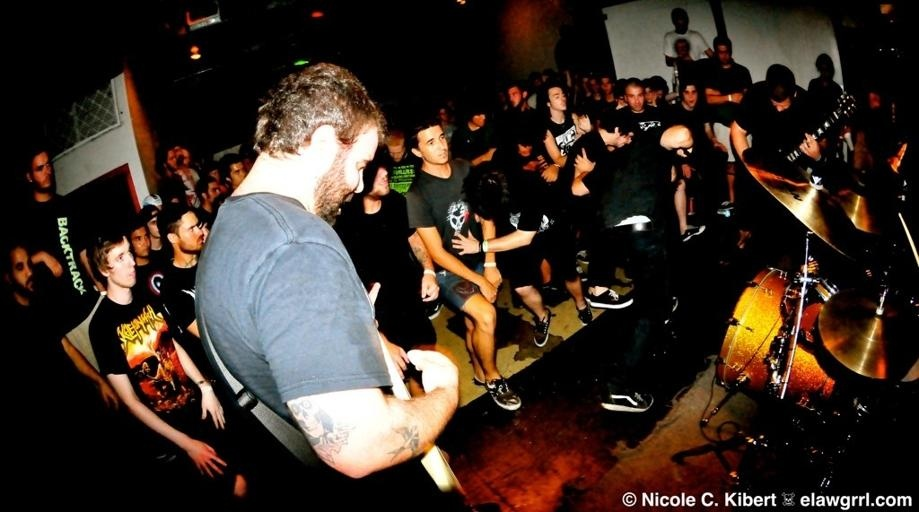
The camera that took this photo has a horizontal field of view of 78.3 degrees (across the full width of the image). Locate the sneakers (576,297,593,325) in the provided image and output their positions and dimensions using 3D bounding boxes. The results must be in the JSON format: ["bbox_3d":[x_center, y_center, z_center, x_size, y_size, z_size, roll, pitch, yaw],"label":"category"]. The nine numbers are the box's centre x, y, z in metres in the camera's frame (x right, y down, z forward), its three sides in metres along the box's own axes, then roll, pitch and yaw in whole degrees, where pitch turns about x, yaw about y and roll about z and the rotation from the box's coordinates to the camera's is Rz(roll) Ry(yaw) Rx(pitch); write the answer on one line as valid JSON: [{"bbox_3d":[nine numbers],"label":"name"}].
[{"bbox_3d":[1.735,0.764,8.044,0.172,0.172,0.408,-25,42,24],"label":"sneakers"}]

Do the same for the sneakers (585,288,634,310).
[{"bbox_3d":[2.134,0.614,8.041,0.753,0.253,0.251,-3,4,3],"label":"sneakers"}]

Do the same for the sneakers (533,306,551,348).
[{"bbox_3d":[1.113,1.001,7.832,0.211,0.234,0.554,-6,46,33],"label":"sneakers"}]

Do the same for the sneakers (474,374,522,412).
[{"bbox_3d":[0.455,1.706,7.196,0.676,0.233,0.248,17,33,39],"label":"sneakers"}]

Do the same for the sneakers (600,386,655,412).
[{"bbox_3d":[2.008,1.724,6.806,0.591,0.135,0.256,6,46,12],"label":"sneakers"}]

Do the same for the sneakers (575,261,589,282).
[{"bbox_3d":[1.897,0.215,8.747,0.210,0.150,0.498,1,-8,14],"label":"sneakers"}]

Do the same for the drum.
[{"bbox_3d":[3.531,1.088,6.427,1.169,1.709,0.749,6,25,22],"label":"drum"}]
